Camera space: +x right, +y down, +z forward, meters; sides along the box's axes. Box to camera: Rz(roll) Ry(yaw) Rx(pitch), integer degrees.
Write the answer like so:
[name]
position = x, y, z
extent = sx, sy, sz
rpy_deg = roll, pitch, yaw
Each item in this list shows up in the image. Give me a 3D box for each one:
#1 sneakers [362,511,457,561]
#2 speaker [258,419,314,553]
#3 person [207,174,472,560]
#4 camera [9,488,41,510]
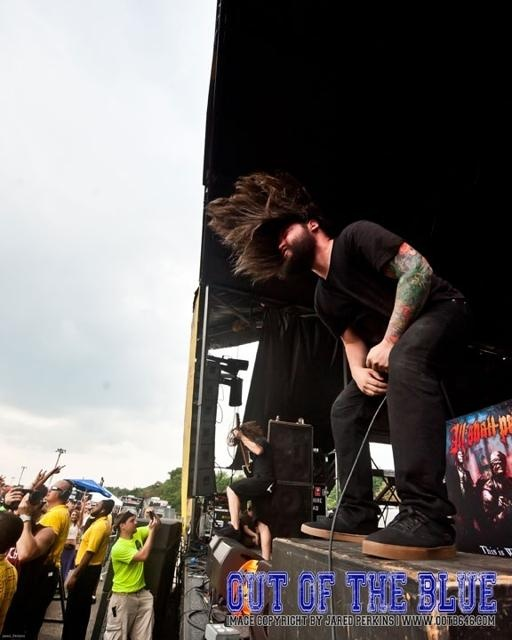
[sneakers]
position = 0.456, 0.604, 1.211
extent = 0.276, 0.114, 0.143
rpy_deg = 5, -14, -10
[speaker]
position = 0.425, 2.347, 6.331
extent = 0.873, 1.449, 0.904
rpy_deg = -2, -25, 5
[person]
position = 0.377, -0.012, 1.840
extent = 0.985, 1.730, 0.635
rpy_deg = -15, -30, 39
[camera]
position = -2.505, 1.916, 4.599
extent = 0.341, 0.128, 0.340
rpy_deg = -12, -14, 34
